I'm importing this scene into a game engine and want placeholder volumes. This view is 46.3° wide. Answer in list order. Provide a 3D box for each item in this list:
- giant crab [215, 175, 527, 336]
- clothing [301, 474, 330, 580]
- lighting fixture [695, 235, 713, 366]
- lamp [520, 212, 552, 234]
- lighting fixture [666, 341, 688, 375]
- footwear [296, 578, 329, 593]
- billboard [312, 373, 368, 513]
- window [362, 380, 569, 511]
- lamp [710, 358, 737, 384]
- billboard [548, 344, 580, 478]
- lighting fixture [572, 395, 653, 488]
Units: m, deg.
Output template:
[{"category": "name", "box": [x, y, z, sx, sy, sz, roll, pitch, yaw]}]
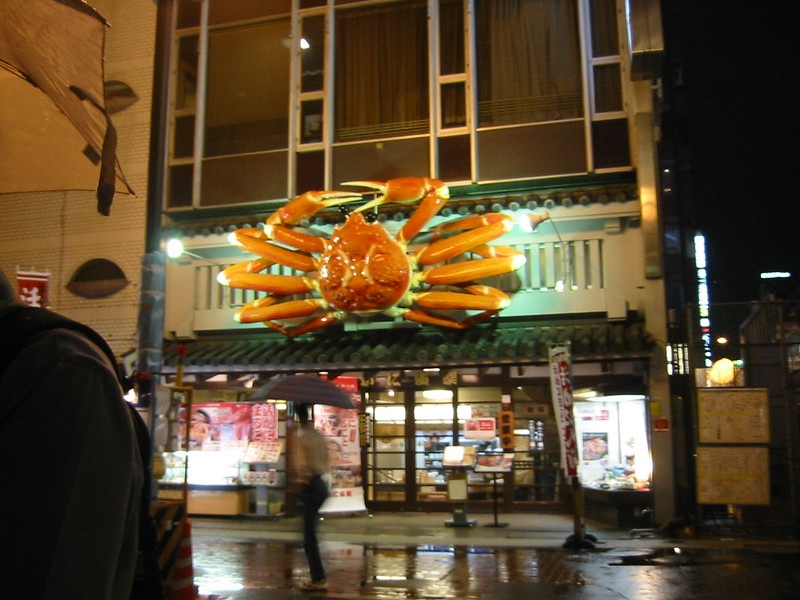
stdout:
[{"category": "giant crab", "box": [-0.491, -0.664, 16.920, 7.036, 2.683, 1.673, 1, -8, 12]}, {"category": "clothing", "box": [-1.094, 2.923, 12.026, 0.340, 1.333, 0.534, -1, -9, -6]}, {"category": "lighting fixture", "box": [6.811, 0.079, 21.317, 0.310, 3.465, 0.227, -10, -14, 39]}, {"category": "lamp", "box": [2.348, -1.376, 16.322, 0.658, 0.292, 0.331, -4, -7, -7]}, {"category": "lighting fixture", "box": [4.953, 1.074, 16.860, 0.332, 0.585, 1.660, -5, -7, 17]}, {"category": "footwear", "box": [-1.088, 3.535, 11.590, 0.370, 0.123, 0.111, 3, -36, 6]}, {"category": "billboard", "box": [-1.127, 2.779, 18.152, 0.087, 1.722, 1.139, 4, 5, 32]}, {"category": "window", "box": [1.091, 2.737, 18.022, 4.791, 2.721, 0.126, -9, -16, 40]}, {"category": "lamp", "box": [5.440, 1.223, 15.957, 0.409, 0.481, 1.042, -4, -7, 17]}, {"category": "billboard", "box": [2.469, 1.521, 13.943, 0.139, 1.899, 0.436, 14, -25, -36]}, {"category": "lighting fixture", "box": [3.890, 2.576, 17.216, 1.113, 1.633, 1.526, -2, -8, -2]}]
